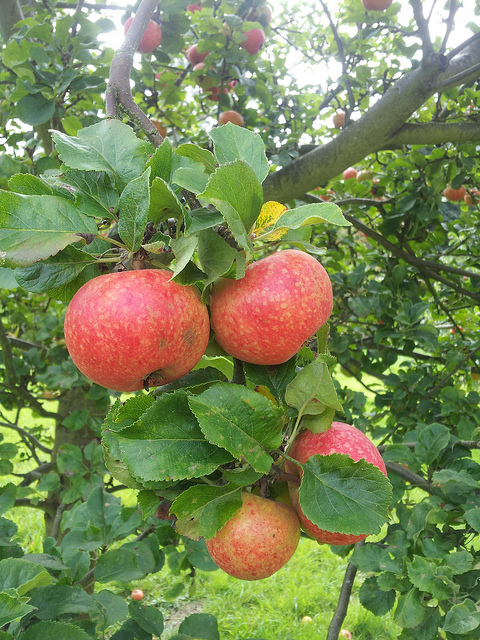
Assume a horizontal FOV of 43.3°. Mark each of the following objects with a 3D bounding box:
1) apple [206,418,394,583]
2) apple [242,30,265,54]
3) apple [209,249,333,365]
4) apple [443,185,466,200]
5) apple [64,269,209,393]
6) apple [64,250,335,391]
[{"bbox_3d":[0.064,0.285,0.910,0.293,0.120,0.162,-14,4,-31],"label":"apple"},{"bbox_3d":[0.047,-1.054,2.294,0.076,0.052,0.121,12,-7,-7],"label":"apple"},{"bbox_3d":[0.042,-0.020,0.872,0.138,0.121,0.103,-31,-25,8],"label":"apple"},{"bbox_3d":[0.886,-0.534,2.496,0.083,0.043,0.127,8,-7,20],"label":"apple"},{"bbox_3d":[-0.145,0.017,0.938,0.248,0.173,0.242,-3,-13,12],"label":"apple"},{"bbox_3d":[-0.049,-0.009,0.930,0.382,0.138,0.189,-10,-2,-11],"label":"apple"}]
